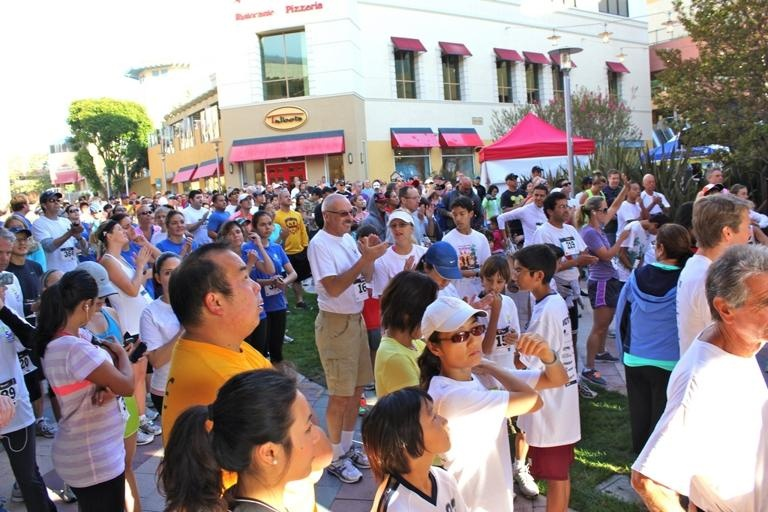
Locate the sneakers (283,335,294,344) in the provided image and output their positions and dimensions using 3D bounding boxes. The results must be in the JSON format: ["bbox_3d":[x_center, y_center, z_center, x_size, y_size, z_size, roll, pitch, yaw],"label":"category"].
[{"bbox_3d":[-1.535,1.328,9.148,0.072,0.090,0.200,-1,-2,-34],"label":"sneakers"}]

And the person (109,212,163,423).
[{"bbox_3d":[-2.915,0.501,6.757,0.612,1.856,0.635,-6,28,-20],"label":"person"}]

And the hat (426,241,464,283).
[{"bbox_3d":[0.565,0.049,5.637,0.352,0.359,0.203,-2,5,4],"label":"hat"}]

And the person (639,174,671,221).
[{"bbox_3d":[4.998,-1.041,10.623,0.601,0.954,0.540,-3,-6,10],"label":"person"}]

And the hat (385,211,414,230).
[{"bbox_3d":[0.195,-0.420,6.721,0.344,0.199,0.534,0,-9,13],"label":"hat"}]

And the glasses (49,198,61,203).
[{"bbox_3d":[-4.989,-0.856,8.740,0.080,0.066,0.143,-1,5,9],"label":"glasses"}]

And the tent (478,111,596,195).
[{"bbox_3d":[3.590,-2.683,14.658,2.229,1.506,2.329,-5,11,-9],"label":"tent"}]

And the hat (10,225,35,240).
[{"bbox_3d":[-4.486,-0.297,7.062,0.449,0.148,0.265,6,6,44],"label":"hat"}]

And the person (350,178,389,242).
[{"bbox_3d":[-0.198,-0.682,8.965,0.497,1.185,0.737,12,12,38],"label":"person"}]

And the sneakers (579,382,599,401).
[{"bbox_3d":[2.441,1.634,6.840,0.094,0.120,0.275,-19,39,-4],"label":"sneakers"}]

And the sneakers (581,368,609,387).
[{"bbox_3d":[2.637,1.509,7.185,0.349,0.164,0.138,17,19,33],"label":"sneakers"}]

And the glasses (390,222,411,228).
[{"bbox_3d":[0.201,-0.356,6.398,0.258,0.094,0.149,-2,5,-3],"label":"glasses"}]

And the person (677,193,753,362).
[{"bbox_3d":[2.886,0.258,4.982,0.709,1.600,0.723,2,22,29],"label":"person"}]

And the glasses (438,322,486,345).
[{"bbox_3d":[0.517,0.518,3.730,0.151,0.054,0.174,-21,5,-35],"label":"glasses"}]

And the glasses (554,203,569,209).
[{"bbox_3d":[2.322,-0.655,7.443,0.191,0.068,0.065,-5,5,-28],"label":"glasses"}]

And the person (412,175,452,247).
[{"bbox_3d":[0.943,-0.886,11.093,0.713,0.936,2.242,-9,-4,-3],"label":"person"}]

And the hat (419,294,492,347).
[{"bbox_3d":[0.452,0.429,3.747,0.350,0.193,0.253,-22,0,44],"label":"hat"}]

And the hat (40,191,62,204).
[{"bbox_3d":[-5.077,-0.907,8.716,0.299,0.169,0.227,-19,-4,24],"label":"hat"}]

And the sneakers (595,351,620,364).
[{"bbox_3d":[3.021,1.376,7.759,0.328,0.153,0.123,1,3,-5],"label":"sneakers"}]
